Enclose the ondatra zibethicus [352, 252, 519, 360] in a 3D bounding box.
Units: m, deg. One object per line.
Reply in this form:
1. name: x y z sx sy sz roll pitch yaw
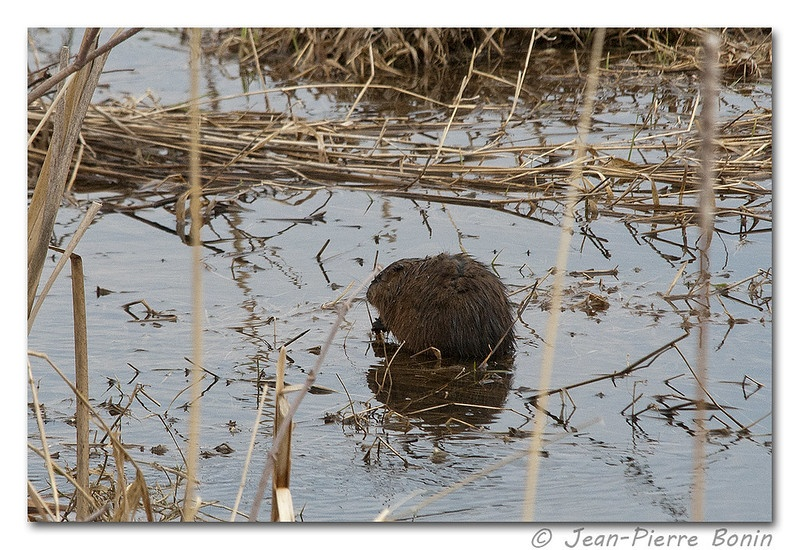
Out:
1. ondatra zibethicus: 0.365 0.220 7.629 0.982 0.666 1.505 -16 26 -43
